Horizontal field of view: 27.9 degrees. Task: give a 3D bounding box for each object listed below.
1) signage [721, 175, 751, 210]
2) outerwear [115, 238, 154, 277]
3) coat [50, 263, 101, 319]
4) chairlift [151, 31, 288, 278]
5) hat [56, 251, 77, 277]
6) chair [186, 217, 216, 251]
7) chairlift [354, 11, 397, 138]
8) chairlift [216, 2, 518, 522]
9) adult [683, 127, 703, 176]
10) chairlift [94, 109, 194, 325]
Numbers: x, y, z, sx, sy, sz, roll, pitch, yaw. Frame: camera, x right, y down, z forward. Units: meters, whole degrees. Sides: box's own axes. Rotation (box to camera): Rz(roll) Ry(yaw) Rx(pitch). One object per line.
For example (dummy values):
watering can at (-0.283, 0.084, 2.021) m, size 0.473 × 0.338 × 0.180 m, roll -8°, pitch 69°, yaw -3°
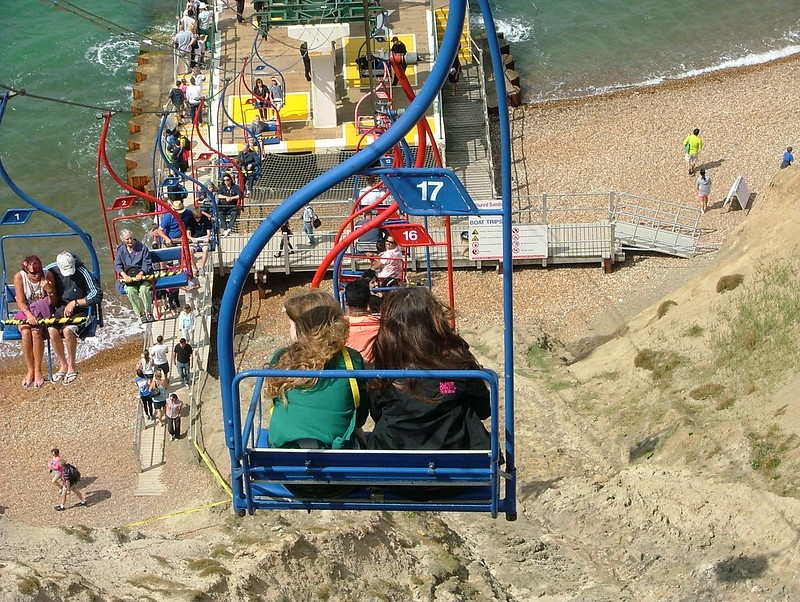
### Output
signage at (8.626, -2.746, 41.399) m, size 0.352 × 0.563 × 0.763 m, roll -9°, pitch 35°, yaw 30°
outerwear at (-5.829, -0.926, 35.234) m, size 0.938 × 1.039 × 0.679 m, roll -1°, pitch 8°, yaw -9°
coat at (-6.238, -0.299, 31.436) m, size 1.415 × 1.277 × 0.863 m, roll 0°, pitch 6°, yaw -2°
chairlift at (-4.389, -4.062, 42.307) m, size 2.315 × 1.480 × 9.816 m, roll 17°, pitch 52°, yaw -17°
hat at (-6.423, -0.713, 30.980) m, size 0.297 × 0.475 × 0.185 m, roll -12°, pitch -4°, yaw -19°
chair at (-4.597, -1.551, 37.367) m, size 0.547 × 0.767 × 0.714 m, roll -5°, pitch 22°, yaw -9°
chairlift at (-0.594, -5.971, 41.861) m, size 1.035 × 4.532 × 1.113 m, roll 2°, pitch -16°, yaw -4°
chairlift at (-0.305, -1.472, 31.295) m, size 6.741 × 13.132 × 7.308 m, roll 0°, pitch 10°, yaw -1°
adult at (7.859, -4.124, 43.221) m, size 0.462 × 1.245 × 1.339 m, roll -1°, pitch 27°, yaw 10°
chairlift at (-6.262, -1.931, 39.599) m, size 1.880 × 5.932 × 2.348 m, roll -7°, pitch 44°, yaw -3°
